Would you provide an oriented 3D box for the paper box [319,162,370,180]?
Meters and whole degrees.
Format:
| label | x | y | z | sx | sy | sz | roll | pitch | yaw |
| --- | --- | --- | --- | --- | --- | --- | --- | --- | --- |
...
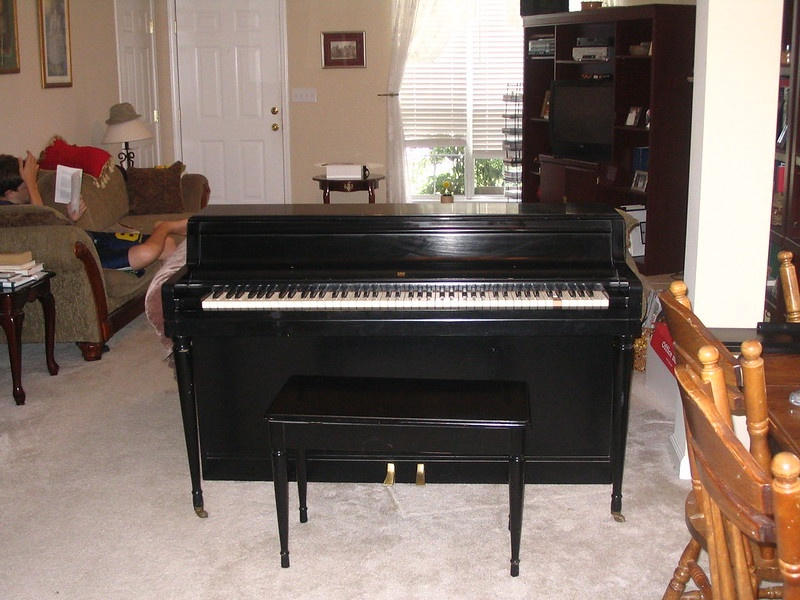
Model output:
| label | x | y | z | sx | sy | sz | roll | pitch | yaw |
| --- | --- | --- | --- | --- | --- | --- | --- | --- | --- |
| paper box | -0.477 | -1.133 | 6.110 | 0.386 | 0.139 | 0.131 | -6 | 18 | -11 |

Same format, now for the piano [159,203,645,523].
| label | x | y | z | sx | sy | sz | roll | pitch | yaw |
| --- | --- | --- | --- | --- | --- | --- | --- | --- | --- |
| piano | 0.028 | 0.238 | 2.813 | 1.640 | 1.177 | 0.660 | 0 | 16 | 0 |

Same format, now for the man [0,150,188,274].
| label | x | y | z | sx | sy | sz | roll | pitch | yaw |
| --- | --- | --- | --- | --- | --- | --- | --- | --- | --- |
| man | -2.136 | -0.595 | 4.734 | 0.578 | 0.494 | 1.089 | -4 | 42 | -21 |

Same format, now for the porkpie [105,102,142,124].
| label | x | y | z | sx | sy | sz | roll | pitch | yaw |
| --- | --- | --- | --- | --- | --- | --- | --- | --- | --- |
| porkpie | -2.431 | -1.629 | 6.053 | 0.253 | 0.102 | 0.215 | -15 | 19 | -23 |

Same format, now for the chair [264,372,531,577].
| label | x | y | z | sx | sy | sz | roll | pitch | yaw |
| --- | --- | --- | --- | --- | --- | --- | --- | --- | --- |
| chair | 0.032 | 0.739 | 2.757 | 1.176 | 0.834 | 0.614 | 2 | 31 | 4 |

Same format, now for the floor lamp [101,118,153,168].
| label | x | y | z | sx | sy | sz | roll | pitch | yaw |
| --- | --- | --- | --- | --- | --- | --- | --- | --- | --- |
| floor lamp | -2.440 | -1.348 | 6.129 | 0.340 | 0.495 | 0.339 | -4 | 0 | -10 |

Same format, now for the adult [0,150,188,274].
| label | x | y | z | sx | sy | sz | roll | pitch | yaw |
| --- | --- | --- | --- | --- | --- | --- | --- | --- | --- |
| adult | -2.136 | -0.595 | 4.734 | 0.578 | 0.494 | 1.089 | -4 | 42 | -21 |

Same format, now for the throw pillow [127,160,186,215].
| label | x | y | z | sx | sy | sz | roll | pitch | yaw |
| --- | --- | --- | --- | --- | --- | --- | --- | --- | --- |
| throw pillow | -2.108 | -0.962 | 5.914 | 0.466 | 0.493 | 0.179 | -5 | 32 | -23 |
